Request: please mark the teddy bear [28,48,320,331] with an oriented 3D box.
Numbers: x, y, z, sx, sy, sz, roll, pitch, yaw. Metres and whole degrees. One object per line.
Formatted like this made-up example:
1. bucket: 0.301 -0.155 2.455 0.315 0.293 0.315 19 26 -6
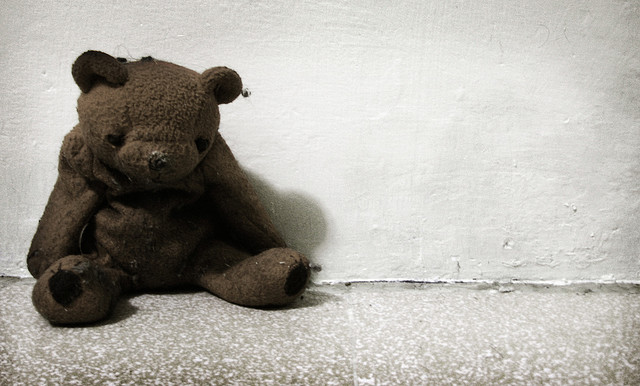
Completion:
1. teddy bear: -0.590 -0.062 2.604 1.134 0.927 0.817 -3 16 -21
